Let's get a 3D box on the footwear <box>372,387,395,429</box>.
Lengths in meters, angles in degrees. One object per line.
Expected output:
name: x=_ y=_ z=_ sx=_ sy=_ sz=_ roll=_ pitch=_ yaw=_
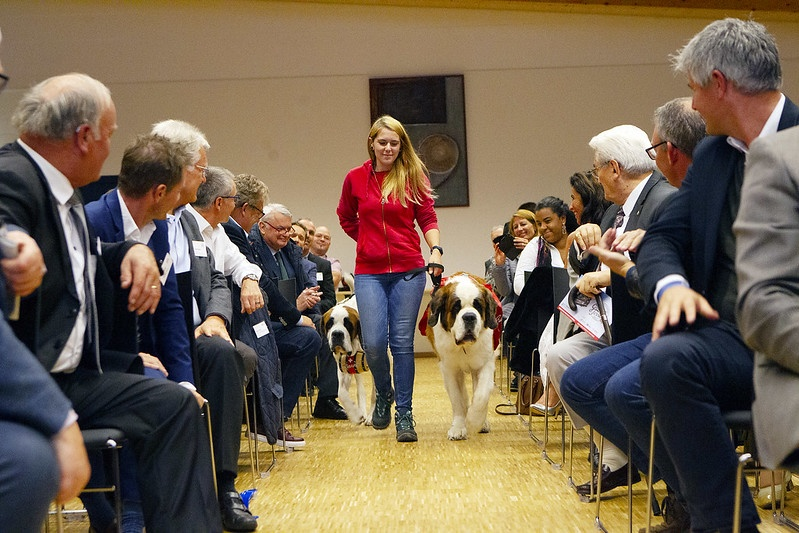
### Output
footwear: x=-0.147 y=1.174 z=5.919 sx=0.125 sy=0.374 sz=0.155 roll=1 pitch=-18 yaw=17

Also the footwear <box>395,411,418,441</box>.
footwear: x=0.043 y=1.193 z=5.456 sx=0.160 sy=0.141 sz=0.243 roll=-1 pitch=-1 yaw=-2

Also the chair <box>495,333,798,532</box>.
chair: x=1.152 y=0.749 z=3.161 sx=0.466 sy=0.947 sz=1.005 roll=-1 pitch=0 yaw=-6

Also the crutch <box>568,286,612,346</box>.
crutch: x=1.069 y=0.274 z=4.127 sx=0.069 sy=0.350 sz=0.203 roll=-8 pitch=-41 yaw=-42

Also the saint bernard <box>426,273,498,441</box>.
saint bernard: x=0.523 y=0.779 z=6.398 sx=0.524 sy=1.284 sz=1.904 roll=-2 pitch=-3 yaw=1

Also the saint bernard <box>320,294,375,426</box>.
saint bernard: x=-0.402 y=0.922 z=6.839 sx=0.365 sy=1.104 sz=1.492 roll=-9 pitch=-11 yaw=5
